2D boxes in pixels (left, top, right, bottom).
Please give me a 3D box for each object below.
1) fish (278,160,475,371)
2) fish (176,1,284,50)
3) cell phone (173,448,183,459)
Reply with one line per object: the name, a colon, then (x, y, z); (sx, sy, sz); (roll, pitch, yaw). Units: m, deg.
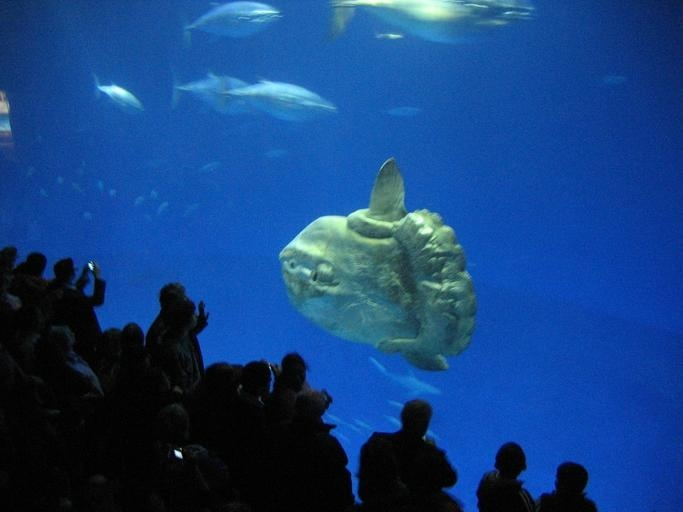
fish: (0.374, 0.106, 6.829); (2.031, 1.815, 1.274); (5, 6, 19)
fish: (-1.102, -2.509, 7.679); (0.953, 0.403, 0.280); (4, -8, 17)
cell phone: (-1.243, 1.497, 5.572); (0.083, 0.073, 0.022); (-7, 6, 31)
